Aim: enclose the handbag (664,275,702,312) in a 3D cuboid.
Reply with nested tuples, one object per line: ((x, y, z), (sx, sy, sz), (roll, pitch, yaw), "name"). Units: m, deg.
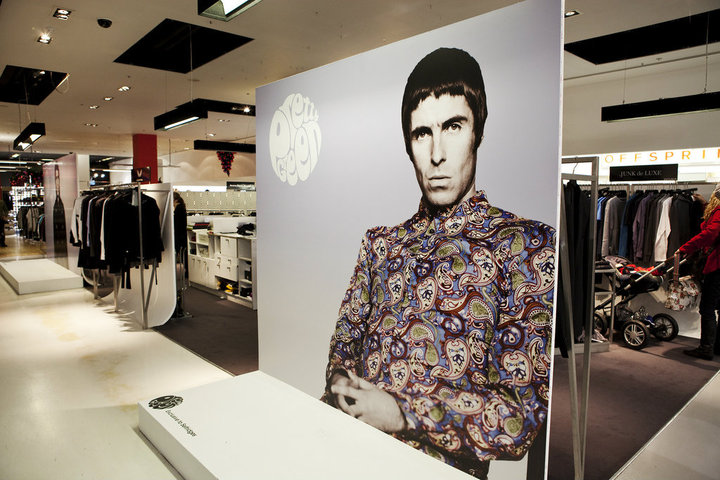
((4.732, 0.763, 7.587), (0.482, 0.503, 0.437), (-4, 9, -14), "handbag")

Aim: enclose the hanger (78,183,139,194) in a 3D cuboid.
((-4.646, -0.947, 9.323), (1.839, 0.167, 0.195), (11, 4, 42), "hanger")
